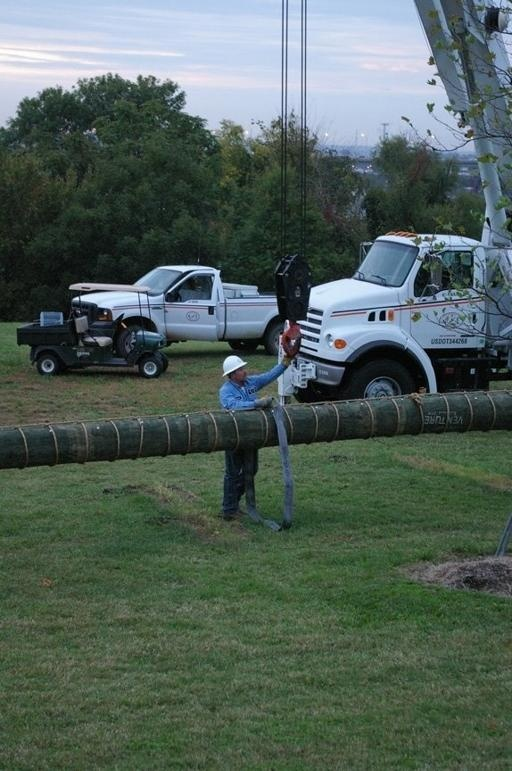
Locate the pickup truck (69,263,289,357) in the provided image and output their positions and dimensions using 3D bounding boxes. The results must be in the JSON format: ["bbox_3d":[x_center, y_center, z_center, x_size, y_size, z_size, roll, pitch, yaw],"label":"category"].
[{"bbox_3d":[-1.419,-1.414,20.694,3.732,1.425,1.898,-1,4,-42],"label":"pickup truck"}]

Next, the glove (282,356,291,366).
[{"bbox_3d":[0.271,-0.230,10.250,0.066,0.087,0.063,4,-7,2],"label":"glove"}]

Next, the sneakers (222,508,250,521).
[{"bbox_3d":[-0.181,1.207,10.529,0.094,0.123,0.281,-4,-10,44],"label":"sneakers"}]

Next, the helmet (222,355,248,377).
[{"bbox_3d":[-0.204,-0.157,10.384,0.213,0.128,0.237,-26,11,8],"label":"helmet"}]

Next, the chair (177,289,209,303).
[{"bbox_3d":[-1.176,-1.693,20.861,0.685,0.241,0.181,-9,13,-41],"label":"chair"}]

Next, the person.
[{"bbox_3d":[-0.028,0.471,10.430,0.614,1.557,0.774,0,10,0],"label":"person"}]

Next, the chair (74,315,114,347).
[{"bbox_3d":[-2.663,-0.900,18.354,0.525,0.504,0.890,1,10,6],"label":"chair"}]
